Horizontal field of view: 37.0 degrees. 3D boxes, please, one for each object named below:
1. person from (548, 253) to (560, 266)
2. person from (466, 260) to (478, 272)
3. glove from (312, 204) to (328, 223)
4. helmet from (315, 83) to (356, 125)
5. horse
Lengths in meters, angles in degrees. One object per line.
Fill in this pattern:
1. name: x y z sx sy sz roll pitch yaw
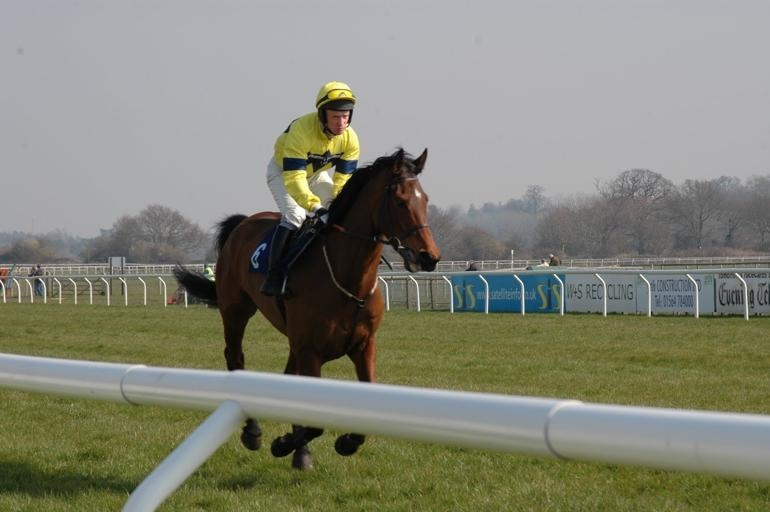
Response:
1. person: 4.669 0.109 31.946 0.249 0.379 0.778 -4 -2 -2
2. person: 2.407 0.279 32.023 0.300 0.405 0.844 0 -3 -5
3. glove: -0.747 -0.494 13.439 0.166 0.190 0.180 -2 19 -21
4. helmet: -0.582 -1.784 13.451 0.408 0.481 0.328 0 -2 -7
5. horse: -0.894 0.638 13.597 3.076 3.674 1.353 -2 -3 41
